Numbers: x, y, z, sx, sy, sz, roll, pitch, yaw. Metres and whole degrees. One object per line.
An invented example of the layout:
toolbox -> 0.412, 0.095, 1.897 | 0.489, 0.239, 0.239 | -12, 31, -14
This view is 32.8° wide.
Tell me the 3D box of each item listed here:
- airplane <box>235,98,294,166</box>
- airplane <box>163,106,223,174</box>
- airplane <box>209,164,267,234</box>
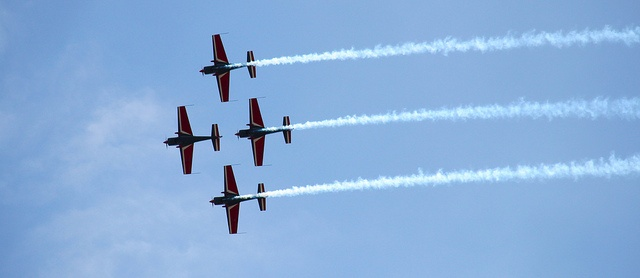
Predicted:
airplane -> -4.929, -0.540, 94.428 | 4.761, 5.927, 1.511 | -6, -66, 4
airplane -> -11.128, -0.054, 94.726 | 5.240, 1.766, 5.911 | -17, -102, 10
airplane -> -6.973, 5.121, 94.418 | 5.162, 1.641, 5.967 | -14, -103, 11
